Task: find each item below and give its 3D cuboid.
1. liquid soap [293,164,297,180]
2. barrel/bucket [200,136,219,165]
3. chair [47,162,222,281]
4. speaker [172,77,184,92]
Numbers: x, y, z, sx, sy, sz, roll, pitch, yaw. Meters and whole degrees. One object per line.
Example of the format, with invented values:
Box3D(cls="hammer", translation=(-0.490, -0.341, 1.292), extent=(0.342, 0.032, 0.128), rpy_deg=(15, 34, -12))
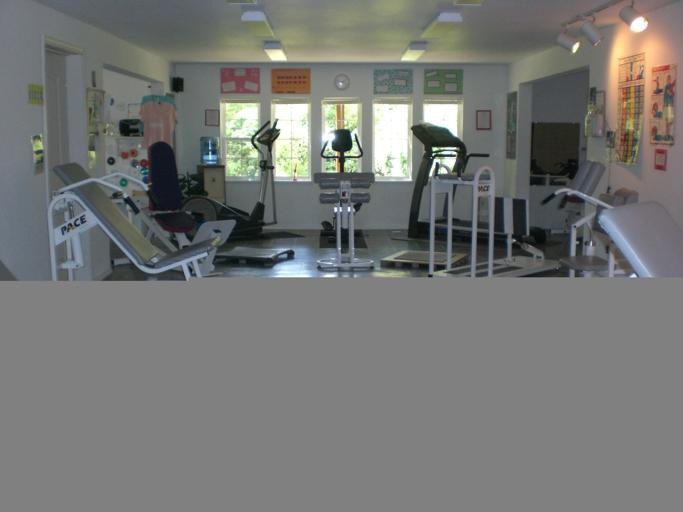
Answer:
Box3D(cls="liquid soap", translation=(-0.767, -1.424, 9.996), extent=(0.068, 0.256, 0.097), rpy_deg=(0, 9, -6))
Box3D(cls="barrel/bucket", translation=(-2.188, -1.751, 9.754), extent=(0.318, 0.456, 0.253), rpy_deg=(0, 10, -6))
Box3D(cls="chair", translation=(-1.986, -0.301, 5.638), extent=(1.221, 1.296, 1.161), rpy_deg=(17, 12, 30))
Box3D(cls="speaker", translation=(-2.625, -2.755, 9.444), extent=(0.119, 0.222, 0.240), rpy_deg=(3, 8, 4))
